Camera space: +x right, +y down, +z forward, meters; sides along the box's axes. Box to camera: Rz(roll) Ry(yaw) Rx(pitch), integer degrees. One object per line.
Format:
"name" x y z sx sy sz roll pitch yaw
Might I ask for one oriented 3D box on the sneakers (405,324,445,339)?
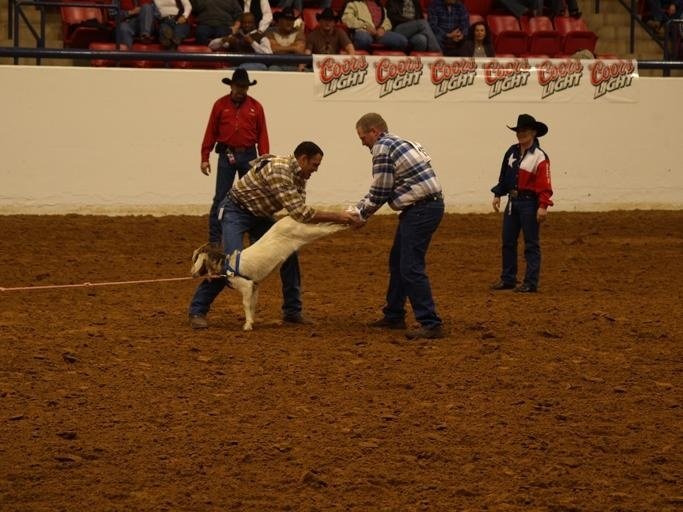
"sneakers" 0.873 0.781 8.493 0.493 0.138 0.142 1 3 2

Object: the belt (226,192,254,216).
"belt" -1.142 -0.554 8.763 0.265 0.088 0.314 14 -14 47

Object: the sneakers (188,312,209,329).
"sneakers" -1.538 0.683 8.707 0.248 0.099 0.307 2 2 -9

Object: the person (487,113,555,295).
"person" 2.261 -0.660 10.295 0.731 2.218 0.713 -3 15 9

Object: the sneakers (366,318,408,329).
"sneakers" 0.505 0.734 8.927 0.473 0.117 0.126 2 -3 0

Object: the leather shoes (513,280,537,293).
"leather shoes" 2.323 0.394 10.307 0.314 0.082 0.129 3 0 0

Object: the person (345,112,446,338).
"person" 0.618 -0.306 8.411 0.873 2.325 0.640 -4 15 5
